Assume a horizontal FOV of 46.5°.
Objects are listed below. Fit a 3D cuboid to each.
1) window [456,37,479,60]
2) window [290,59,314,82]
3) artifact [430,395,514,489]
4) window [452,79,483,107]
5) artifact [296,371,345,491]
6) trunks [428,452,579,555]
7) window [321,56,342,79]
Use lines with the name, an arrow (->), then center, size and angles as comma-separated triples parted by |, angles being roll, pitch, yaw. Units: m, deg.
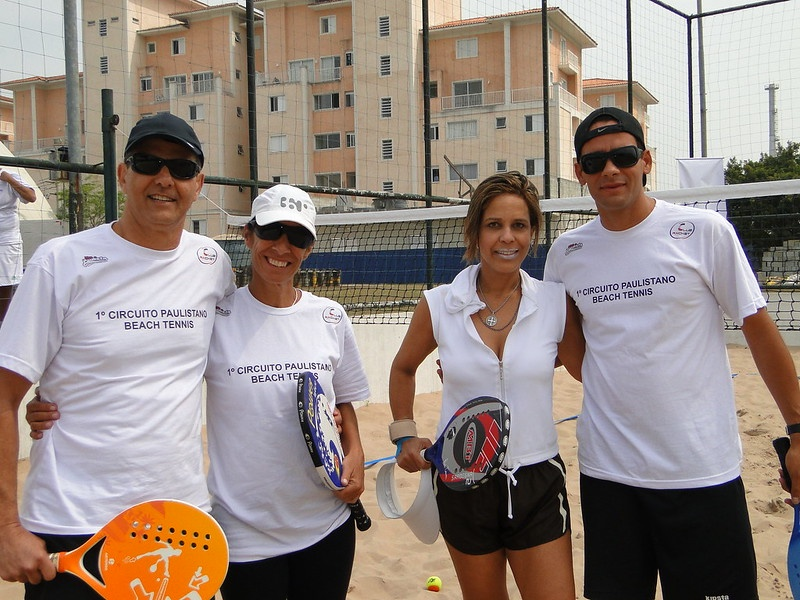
window -> 1.873, -7.149, 26.329 | 0.487, 0.463, 0.055 | -1, 3, -13
window -> -3.084, -7.171, 29.199 | 0.686, 0.781, 0.397 | 0, -6, -12
artifact -> 0.358, 0.745, 4.877 | 0.450, 0.462, 0.145 | 0, 3, 36
window -> 2.006, -6.169, 27.552 | 0.738, 0.723, 0.087 | 0, 8, -1
artifact -> -0.411, 0.680, 4.857 | 0.225, 0.619, 0.346 | -2, 3, -4
trunks -> 0.587, 1.125, 4.975 | 0.693, 0.677, 0.451 | -9, 20, -3
window -> -2.126, -7.297, 29.114 | 0.720, 0.899, 0.068 | 1, 0, 12
